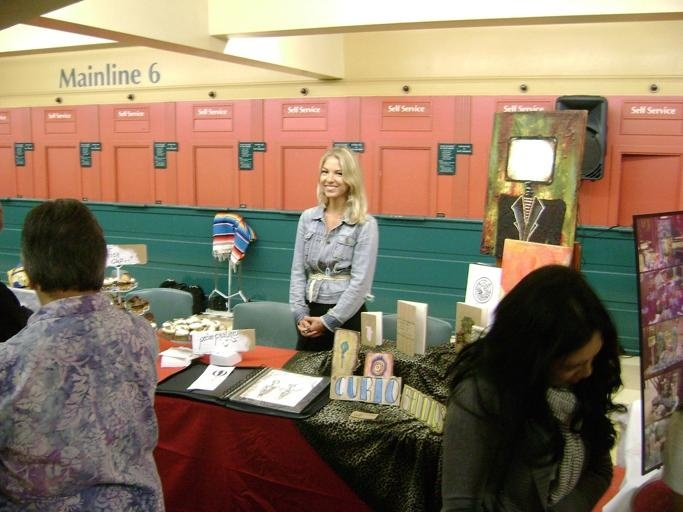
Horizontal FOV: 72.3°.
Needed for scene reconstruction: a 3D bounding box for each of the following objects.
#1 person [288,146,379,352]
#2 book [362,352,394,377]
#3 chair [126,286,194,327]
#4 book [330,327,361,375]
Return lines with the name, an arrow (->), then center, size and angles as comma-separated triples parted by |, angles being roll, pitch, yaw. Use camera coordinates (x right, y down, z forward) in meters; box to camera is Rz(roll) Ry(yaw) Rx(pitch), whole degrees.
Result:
person -> -0.073, -0.106, 2.926 | 0.556, 1.166, 0.345 | 2, 4, 15
book -> 0.171, 0.496, 2.160 | 0.131, 0.105, 0.116 | 1, -6, 3
chair -> -1.349, 0.403, 3.764 | 0.373, 0.287, 0.285 | -3, 13, -16
book -> 0.017, 0.453, 2.218 | 0.135, 0.203, 0.039 | 5, -8, 11
